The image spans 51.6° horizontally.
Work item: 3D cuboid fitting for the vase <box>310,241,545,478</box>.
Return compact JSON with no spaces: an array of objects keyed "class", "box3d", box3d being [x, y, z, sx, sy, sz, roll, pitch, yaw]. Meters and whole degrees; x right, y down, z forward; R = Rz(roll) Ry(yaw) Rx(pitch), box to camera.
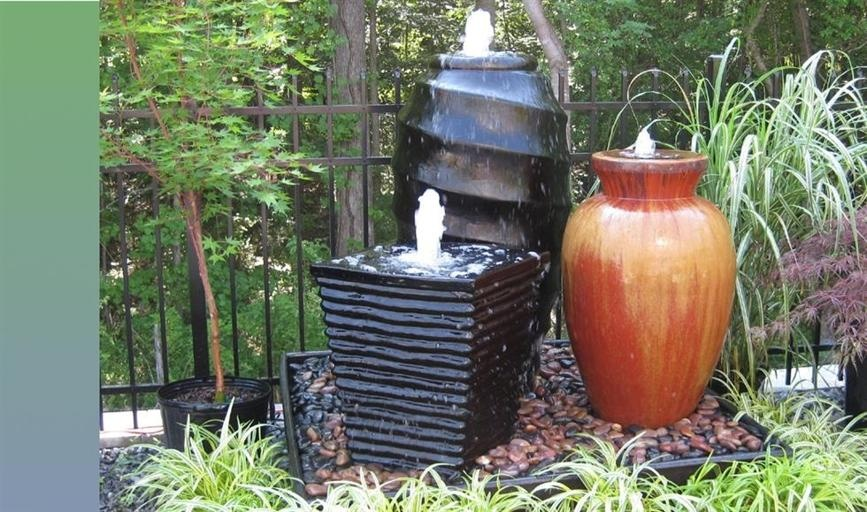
[{"class":"vase","box3d":[0.137,0.444,5.419,0.924,1.036,1.091,9,20,39]}]
